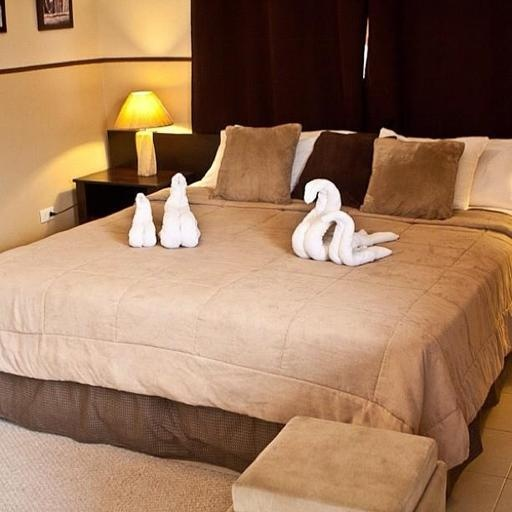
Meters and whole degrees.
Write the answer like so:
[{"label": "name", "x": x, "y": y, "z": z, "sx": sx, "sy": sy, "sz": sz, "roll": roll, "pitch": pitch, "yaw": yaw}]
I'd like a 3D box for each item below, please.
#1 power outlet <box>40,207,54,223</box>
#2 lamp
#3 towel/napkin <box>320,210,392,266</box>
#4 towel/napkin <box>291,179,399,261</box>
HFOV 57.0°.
[{"label": "power outlet", "x": -1.687, "y": -0.336, "z": 3.809, "sx": 0.015, "sy": 0.098, "sz": 0.210, "roll": 9, "pitch": 9, "yaw": 19}, {"label": "lamp", "x": -0.938, "y": -1.017, "z": 3.925, "sx": 0.438, "sy": 0.680, "sz": 0.419, "roll": -19, "pitch": 26, "yaw": -39}, {"label": "towel/napkin", "x": 0.442, "y": -0.070, "z": 1.965, "sx": 0.205, "sy": 0.134, "sz": 0.275, "roll": 12, "pitch": 20, "yaw": 36}, {"label": "towel/napkin", "x": 0.374, "y": -0.182, "z": 1.992, "sx": 0.347, "sy": 0.273, "sz": 0.348, "roll": -10, "pitch": 11, "yaw": -42}]
